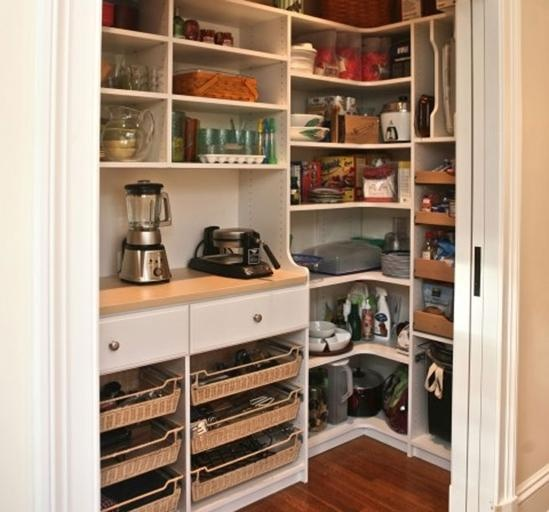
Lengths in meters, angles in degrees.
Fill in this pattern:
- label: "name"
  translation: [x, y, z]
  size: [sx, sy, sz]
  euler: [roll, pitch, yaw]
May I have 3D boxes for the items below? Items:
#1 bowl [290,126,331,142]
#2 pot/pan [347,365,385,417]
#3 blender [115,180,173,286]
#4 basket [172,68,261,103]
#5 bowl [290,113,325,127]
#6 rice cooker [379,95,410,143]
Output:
- label: "bowl"
  translation: [0.171, -0.623, 2.674]
  size: [0.128, 0.029, 0.127]
  euler: [-1, 3, 0]
- label: "pot/pan"
  translation: [0.510, 0.815, 3.150]
  size: [0.268, 0.200, 0.255]
  euler: [-4, 7, -40]
- label: "blender"
  translation: [-0.569, -0.101, 2.225]
  size: [0.243, 0.419, 0.247]
  euler: [-3, 14, -29]
- label: "basket"
  translation: [-0.228, -0.717, 2.294]
  size: [0.481, 0.142, 0.337]
  euler: [-5, 17, -28]
- label: "bowl"
  translation: [0.167, -0.672, 2.641]
  size: [0.110, 0.037, 0.095]
  euler: [6, 11, 44]
- label: "rice cooker"
  translation: [0.704, -0.749, 2.886]
  size: [0.239, 0.244, 0.218]
  euler: [4, 10, 11]
